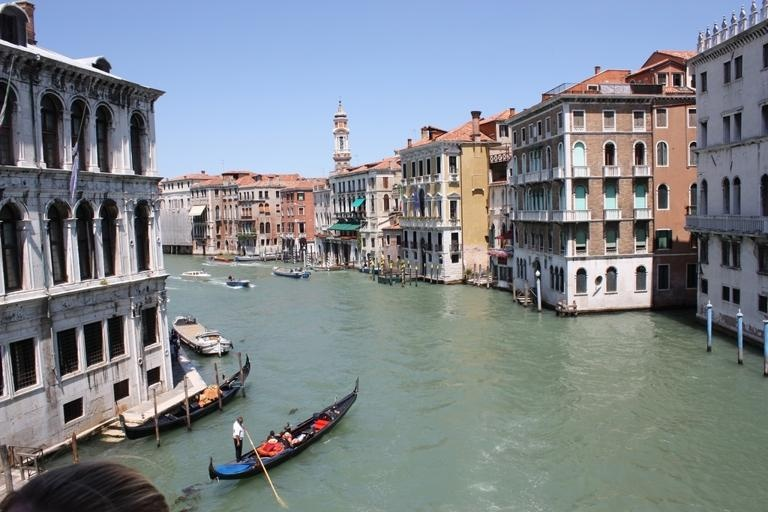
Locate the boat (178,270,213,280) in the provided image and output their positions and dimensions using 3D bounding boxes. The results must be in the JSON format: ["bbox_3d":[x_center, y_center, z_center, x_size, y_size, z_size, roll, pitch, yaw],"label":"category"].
[{"bbox_3d":[-26.959,3.019,113.654,3.877,1.148,2.115,1,8,16],"label":"boat"}]

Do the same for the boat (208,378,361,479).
[{"bbox_3d":[-6.296,11.595,47.238,2.739,3.497,12.029,1,21,40],"label":"boat"}]

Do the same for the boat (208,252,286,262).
[{"bbox_3d":[-24.469,0.135,144.076,11.714,1.575,1.932,1,-1,-1],"label":"boat"}]

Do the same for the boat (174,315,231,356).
[{"bbox_3d":[-15.430,6.645,66.092,2.499,1.926,8.347,-6,7,-24],"label":"boat"}]

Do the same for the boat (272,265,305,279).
[{"bbox_3d":[-12.888,2.311,110.014,1.945,1.354,6.755,-10,9,-39],"label":"boat"}]
